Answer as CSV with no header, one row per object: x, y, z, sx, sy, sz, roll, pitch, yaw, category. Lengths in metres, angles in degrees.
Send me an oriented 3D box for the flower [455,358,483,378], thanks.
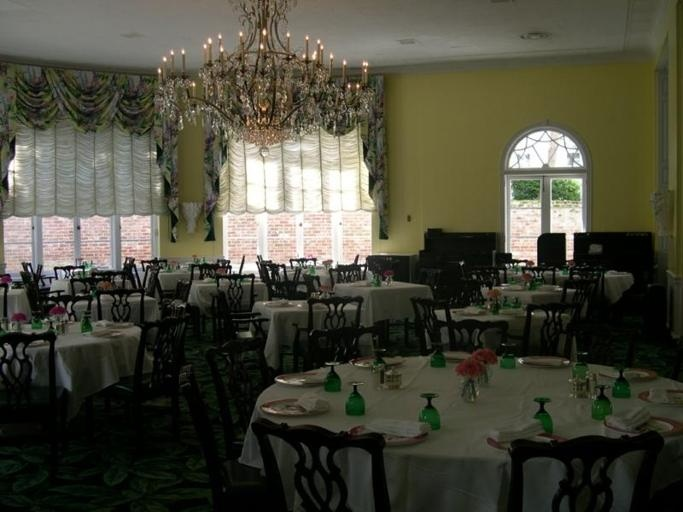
0.726,0.620,3.420,0.107,0.108,0.118,-1,1,-34,flower

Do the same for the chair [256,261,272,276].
-1.474,0.208,11.529,0.253,0.342,0.265,-2,-9,27,chair

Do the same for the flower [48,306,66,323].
-2.617,0.533,5.539,0.137,0.146,0.132,1,-5,-40,flower

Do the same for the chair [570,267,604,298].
3.623,0.374,8.839,0.286,0.490,0.325,4,43,18,chair

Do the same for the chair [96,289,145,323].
-2.646,0.596,7.188,0.360,0.617,0.388,1,-7,-13,chair

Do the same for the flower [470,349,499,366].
0.845,0.596,3.607,0.104,0.108,0.137,1,-5,-9,flower

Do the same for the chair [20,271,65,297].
-5.100,0.462,10.206,0.324,0.484,0.348,0,3,-15,chair

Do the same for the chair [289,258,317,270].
-0.788,0.119,12.293,0.325,0.190,0.446,1,-5,-20,chair

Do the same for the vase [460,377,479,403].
0.747,0.767,3.482,0.107,0.180,0.123,-1,-2,28,vase

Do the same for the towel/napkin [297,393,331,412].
-0.156,0.789,3.335,0.097,0.039,0.102,8,5,39,towel/napkin

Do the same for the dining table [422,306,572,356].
1.704,0.688,5.710,0.772,0.414,0.821,-3,-4,35,dining table

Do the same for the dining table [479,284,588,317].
2.593,0.535,8.411,0.774,0.303,0.781,0,-3,-24,dining table

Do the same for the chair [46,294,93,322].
-2.879,0.540,6.362,0.300,0.440,0.305,0,-5,-3,chair

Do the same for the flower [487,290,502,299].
1.555,0.368,6.087,0.105,0.114,0.100,-9,-7,43,flower

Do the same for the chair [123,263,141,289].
-3.743,0.349,10.723,0.298,0.534,0.334,-7,10,-16,chair

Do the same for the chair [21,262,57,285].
-5.873,0.327,11.648,0.472,0.753,0.450,0,0,10,chair

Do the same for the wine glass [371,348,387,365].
0.248,0.646,3.896,0.110,0.134,0.117,-1,-4,2,wine glass

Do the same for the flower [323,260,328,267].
-0.308,0.131,12.032,0.145,0.120,0.218,-1,2,3,flower

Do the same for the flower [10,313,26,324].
-2.860,0.534,5.312,0.124,0.111,0.121,1,2,-33,flower
